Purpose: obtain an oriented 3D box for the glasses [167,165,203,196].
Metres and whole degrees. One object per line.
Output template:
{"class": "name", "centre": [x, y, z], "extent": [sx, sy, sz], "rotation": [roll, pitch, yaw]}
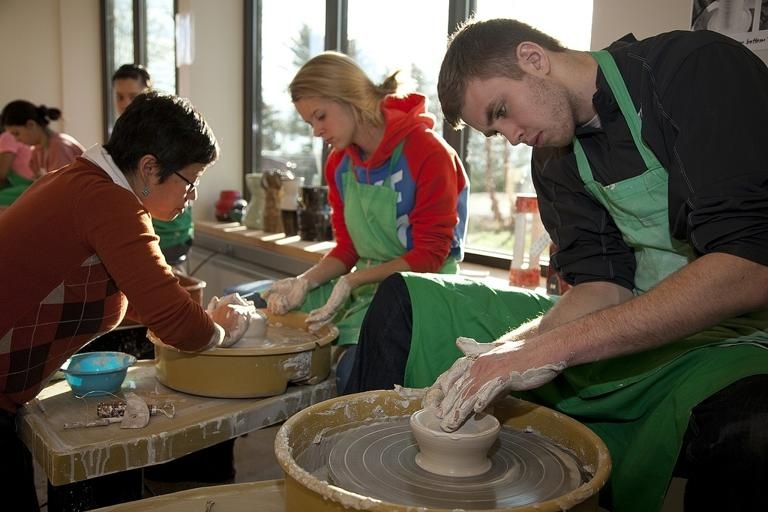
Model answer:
{"class": "glasses", "centre": [-0.794, -0.304, 2.367], "extent": [0.029, 0.107, 0.100], "rotation": [-15, -7, 28]}
